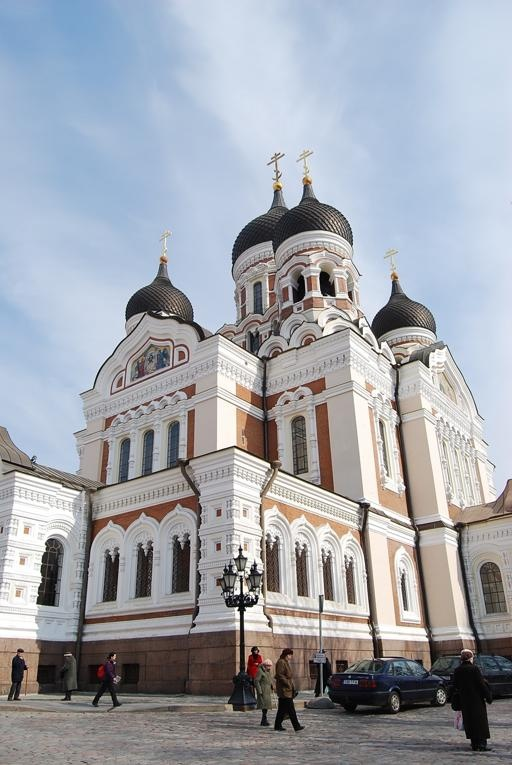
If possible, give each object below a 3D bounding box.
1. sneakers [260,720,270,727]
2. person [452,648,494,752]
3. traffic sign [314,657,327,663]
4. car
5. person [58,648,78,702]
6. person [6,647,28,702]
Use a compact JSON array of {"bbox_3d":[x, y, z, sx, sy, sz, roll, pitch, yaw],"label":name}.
[{"bbox_3d":[0.129,4.659,8.678,0.162,0.114,0.066,-18,-30,27],"label":"sneakers"},{"bbox_3d":[2.227,3.289,6.620,0.387,0.924,0.445,-8,-24,14],"label":"person"},{"bbox_3d":[1.235,5.374,12.398,0.206,0.152,0.620,-5,-24,8],"label":"traffic sign"},{"bbox_3d":[2.370,5.189,11.229,2.213,0.784,1.075,20,-33,-38],"label":"car"},{"bbox_3d":[-3.799,5.966,12.919,0.273,0.864,1.109,5,-24,-16],"label":"person"},{"bbox_3d":[-4.703,5.749,12.558,0.269,0.925,0.897,6,-24,-18],"label":"person"}]
